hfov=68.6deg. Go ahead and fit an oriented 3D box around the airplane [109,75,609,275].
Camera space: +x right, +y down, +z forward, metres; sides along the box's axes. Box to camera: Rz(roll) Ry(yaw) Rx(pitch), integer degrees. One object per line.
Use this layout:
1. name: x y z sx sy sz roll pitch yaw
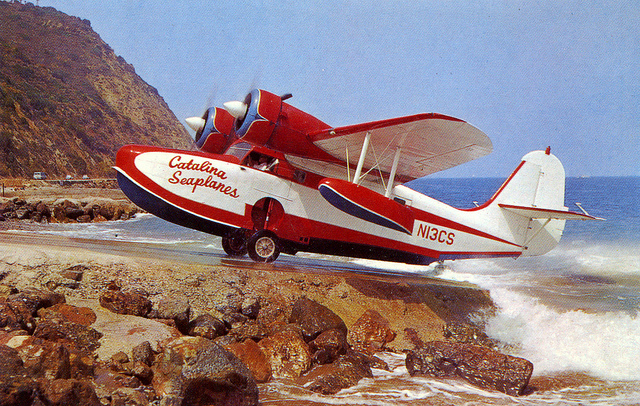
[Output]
1. airplane: 0.399 -0.399 13.559 9.131 3.092 8.534 8 -7 -16
